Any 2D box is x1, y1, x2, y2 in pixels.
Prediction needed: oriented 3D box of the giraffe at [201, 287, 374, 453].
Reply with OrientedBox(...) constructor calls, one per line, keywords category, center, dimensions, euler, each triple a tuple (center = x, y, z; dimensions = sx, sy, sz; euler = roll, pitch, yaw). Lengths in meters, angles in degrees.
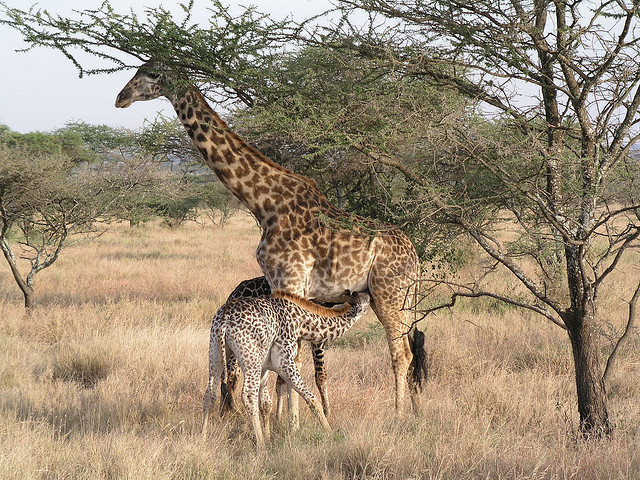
OrientedBox(category="giraffe", center=(-0.328, 1.624, 10.991), dimensions=(2.603, 1.885, 0.716), euler=(1, 3, -39))
